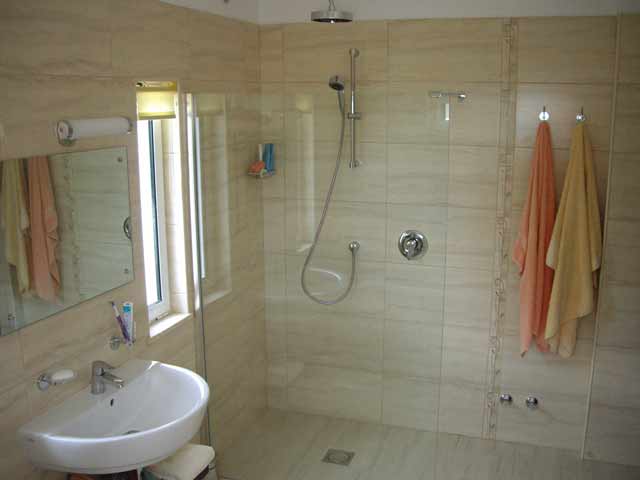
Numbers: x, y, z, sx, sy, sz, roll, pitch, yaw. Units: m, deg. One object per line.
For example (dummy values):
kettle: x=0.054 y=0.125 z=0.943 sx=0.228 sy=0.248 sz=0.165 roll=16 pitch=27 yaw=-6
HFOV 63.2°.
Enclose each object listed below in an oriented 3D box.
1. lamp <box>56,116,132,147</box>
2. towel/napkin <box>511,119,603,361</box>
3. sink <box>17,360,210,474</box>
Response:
lamp: x=-0.980 y=-0.489 z=2.302 sx=0.093 sy=0.112 sz=0.349 roll=4 pitch=11 yaw=30
towel/napkin: x=1.553 y=-0.022 z=3.365 sx=0.510 sy=1.576 sz=0.268 roll=8 pitch=8 yaw=28
sink: x=-0.829 y=0.789 z=2.283 sx=0.561 sy=0.258 sz=0.688 roll=8 pitch=9 yaw=26
